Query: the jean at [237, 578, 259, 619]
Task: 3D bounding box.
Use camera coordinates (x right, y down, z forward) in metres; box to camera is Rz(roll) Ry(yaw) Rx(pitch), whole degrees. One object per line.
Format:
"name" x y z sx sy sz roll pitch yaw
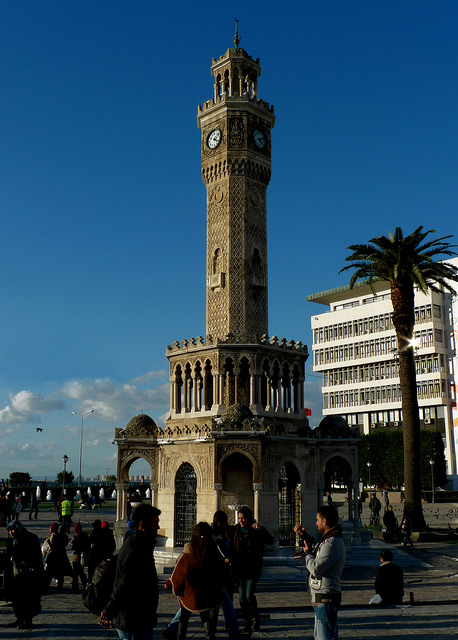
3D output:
"jean" 0.266 4.175 12.455 0.307 0.615 0.785 2 -3 1

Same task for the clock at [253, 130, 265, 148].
"clock" 1.116 -6.763 30.662 0.151 0.671 0.752 1 -3 24

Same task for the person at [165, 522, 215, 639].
"person" -0.467 3.238 10.107 0.549 1.664 1.055 2 -3 -3

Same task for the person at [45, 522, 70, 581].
"person" -3.325 4.569 15.909 0.432 1.143 1.520 2 -3 -11

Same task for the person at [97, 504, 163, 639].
"person" -1.099 2.829 9.203 0.626 1.570 0.794 2 -3 -7

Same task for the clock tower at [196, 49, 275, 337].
"clock tower" 0.303 -4.920 29.944 2.329 10.931 2.662 2 -3 -4

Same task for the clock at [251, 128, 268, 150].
"clock" 1.089 -6.738 30.604 0.075 0.787 0.777 -13 19 29

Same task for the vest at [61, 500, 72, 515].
"vest" -5.595 6.448 28.428 0.475 0.608 0.375 2 -22 -11

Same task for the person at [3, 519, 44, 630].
"person" -3.216 4.015 12.937 0.572 1.599 0.827 3 -3 -23

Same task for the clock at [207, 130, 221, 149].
"clock" -0.548 -6.742 30.623 0.622 0.637 0.590 -12 13 -31
